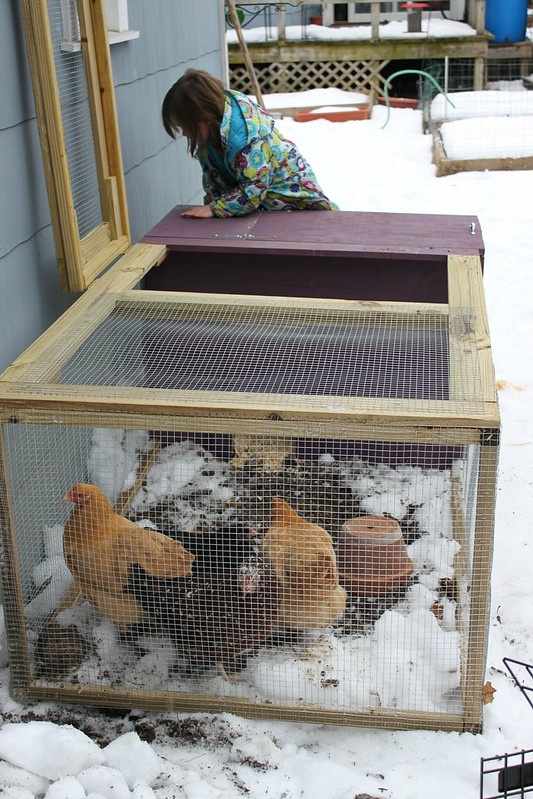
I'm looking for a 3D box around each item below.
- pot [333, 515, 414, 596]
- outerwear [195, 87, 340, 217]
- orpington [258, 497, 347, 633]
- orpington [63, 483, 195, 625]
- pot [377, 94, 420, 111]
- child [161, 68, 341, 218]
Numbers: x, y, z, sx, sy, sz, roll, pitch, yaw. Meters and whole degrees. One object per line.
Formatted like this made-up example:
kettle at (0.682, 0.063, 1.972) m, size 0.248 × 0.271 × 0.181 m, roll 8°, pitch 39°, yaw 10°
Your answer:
pot at (0.212, 0.314, 1.454) m, size 0.140 × 0.096 × 0.138 m, roll -4°, pitch 14°, yaw 1°
outerwear at (-0.028, -0.848, 2.575) m, size 0.621 × 0.489 × 0.359 m, roll -16°, pitch 29°, yaw -32°
orpington at (0.069, 0.308, 1.339) m, size 0.152 × 0.205 × 0.146 m, roll 0°, pitch 18°, yaw 4°
orpington at (-0.267, 0.290, 1.271) m, size 0.253 × 0.256 × 0.257 m, roll 1°, pitch -1°, yaw 10°
pot at (1.463, -3.362, 8.133) m, size 0.478 × 0.159 × 0.341 m, roll 10°, pitch 27°, yaw 23°
child at (-0.005, -0.866, 2.559) m, size 0.789 × 0.471 × 0.297 m, roll -8°, pitch 20°, yaw -35°
